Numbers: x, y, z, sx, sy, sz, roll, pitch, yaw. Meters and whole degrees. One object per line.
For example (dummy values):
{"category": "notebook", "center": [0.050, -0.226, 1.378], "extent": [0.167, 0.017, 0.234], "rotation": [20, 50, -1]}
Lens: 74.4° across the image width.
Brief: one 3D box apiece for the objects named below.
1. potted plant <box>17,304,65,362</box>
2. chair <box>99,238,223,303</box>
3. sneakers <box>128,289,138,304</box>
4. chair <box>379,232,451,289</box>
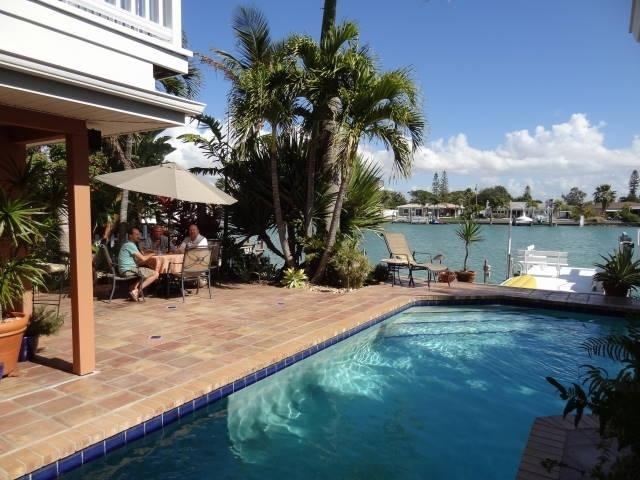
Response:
{"category": "potted plant", "center": [-4.028, 1.322, 6.051], "extent": [0.722, 0.613, 0.657], "rotation": [6, -4, -4]}
{"category": "chair", "center": [-3.488, 0.594, 9.397], "extent": [1.928, 0.962, 1.710], "rotation": [4, -4, -32]}
{"category": "sneakers", "center": [-4.155, 1.225, 9.193], "extent": [0.156, 0.118, 0.340], "rotation": [-20, 34, -22]}
{"category": "chair", "center": [2.683, 0.518, 12.261], "extent": [1.634, 1.647, 2.873], "rotation": [-2, 3, -37]}
